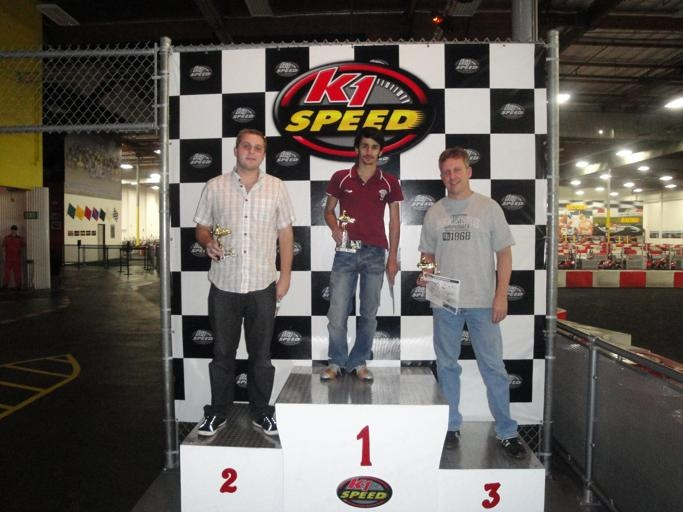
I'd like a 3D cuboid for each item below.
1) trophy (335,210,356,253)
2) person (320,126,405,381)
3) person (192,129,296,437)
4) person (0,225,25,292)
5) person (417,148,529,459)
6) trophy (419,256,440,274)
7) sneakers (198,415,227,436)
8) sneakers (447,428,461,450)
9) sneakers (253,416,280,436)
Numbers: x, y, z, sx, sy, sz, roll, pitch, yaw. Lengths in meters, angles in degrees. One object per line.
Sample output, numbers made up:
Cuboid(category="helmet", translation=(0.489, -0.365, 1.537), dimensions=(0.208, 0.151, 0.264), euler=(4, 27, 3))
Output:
Cuboid(category="trophy", translation=(0.028, -0.188, 4.190), dimensions=(0.183, 0.336, 0.212), euler=(-8, -16, 28))
Cuboid(category="person", translation=(0.181, -0.055, 4.175), dimensions=(0.613, 1.900, 0.303), euler=(0, 3, -3))
Cuboid(category="person", translation=(-0.727, 0.161, 3.932), dimensions=(0.745, 2.193, 0.507), euler=(0, 3, -5))
Cuboid(category="person", translation=(-6.922, 0.018, 11.253), dimensions=(0.384, 1.371, 0.705), euler=(-2, 4, -33))
Cuboid(category="person", translation=(0.959, 0.289, 3.978), dimensions=(0.750, 2.214, 0.507), euler=(0, 3, 8))
Cuboid(category="trophy", translation=(0.664, 0.065, 4.104), dimensions=(0.116, 0.096, 0.119), euler=(1, -9, 11))
Cuboid(category="sneakers", translation=(-0.932, 1.218, 3.807), dimensions=(0.078, 0.094, 0.224), euler=(5, -10, 8))
Cuboid(category="sneakers", translation=(0.815, 1.346, 3.912), dimensions=(0.094, 0.095, 0.170), euler=(1, 4, 18))
Cuboid(category="sneakers", translation=(-0.539, 1.208, 3.800), dimensions=(0.088, 0.096, 0.219), euler=(3, -5, -40))
